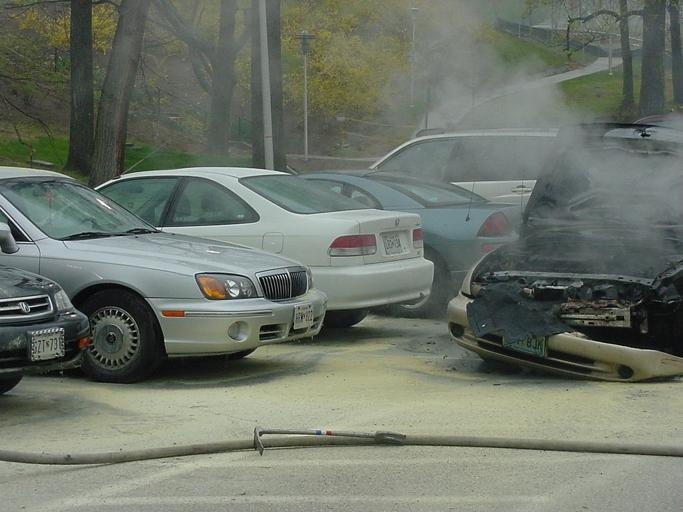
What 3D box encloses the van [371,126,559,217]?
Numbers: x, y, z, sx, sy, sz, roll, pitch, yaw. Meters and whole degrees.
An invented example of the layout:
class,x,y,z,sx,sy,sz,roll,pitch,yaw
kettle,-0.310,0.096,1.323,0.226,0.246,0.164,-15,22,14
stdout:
class,x,y,z,sx,sy,sz,roll,pitch,yaw
van,2.009,-1.281,11.582,2.750,0.784,1.171,6,9,25
